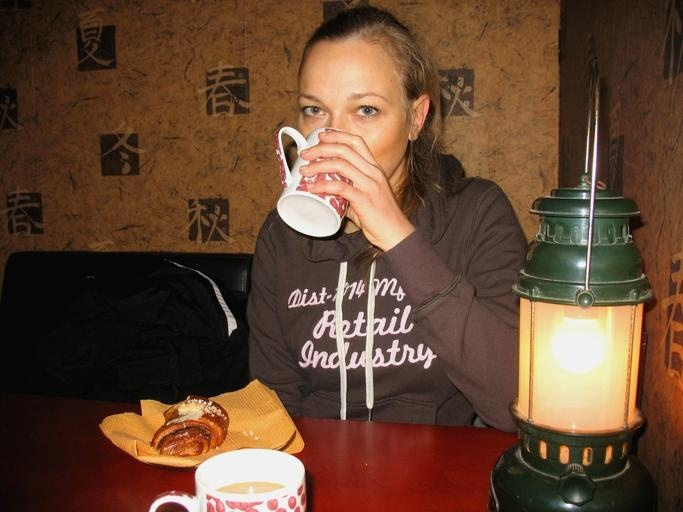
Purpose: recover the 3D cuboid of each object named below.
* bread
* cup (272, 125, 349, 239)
[{"bbox_3d":[-0.275,0.312,1.092,0.100,0.049,0.092,-5,21,-1],"label":"bread"},{"bbox_3d":[-0.065,-0.167,1.308,0.154,0.250,0.197,-2,4,-4],"label":"cup"}]
